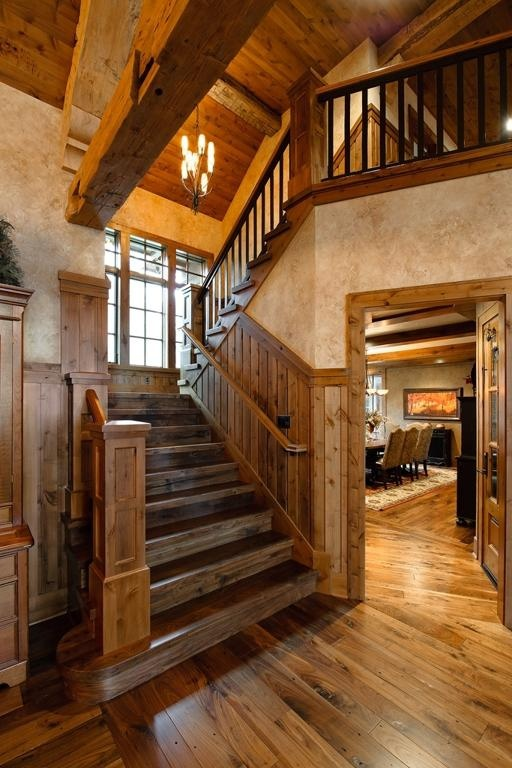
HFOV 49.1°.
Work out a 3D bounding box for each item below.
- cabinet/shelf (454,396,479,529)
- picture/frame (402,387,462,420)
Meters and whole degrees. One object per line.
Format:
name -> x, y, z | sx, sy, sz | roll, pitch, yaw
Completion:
cabinet/shelf -> 1.919, 0.689, 5.083 | 0.195, 1.210, 0.374 | 4, 11, 20
picture/frame -> 3.170, 0.381, 10.080 | 0.187, 0.758, 1.317 | -6, 13, -29
